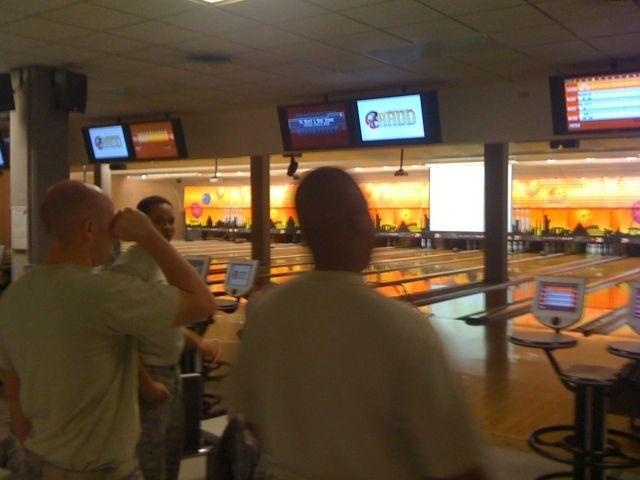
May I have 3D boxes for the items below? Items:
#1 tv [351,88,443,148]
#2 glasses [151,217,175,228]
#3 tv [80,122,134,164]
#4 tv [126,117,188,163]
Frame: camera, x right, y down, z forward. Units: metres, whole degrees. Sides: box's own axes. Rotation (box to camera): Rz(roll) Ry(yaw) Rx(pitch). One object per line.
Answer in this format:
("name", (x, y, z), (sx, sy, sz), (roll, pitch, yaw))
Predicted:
("tv", (0.968, -1.502, 5.992), (0.803, 0.501, 0.181), (-1, 7, 28))
("glasses", (-0.822, -0.083, 2.488), (0.077, 0.058, 0.075), (2, -14, -34))
("tv", (-3.369, -1.608, 7.752), (0.960, 0.674, 0.197), (-1, 13, 26))
("tv", (-2.462, -1.494, 7.261), (0.943, 0.641, 0.215), (-2, 10, 17))
